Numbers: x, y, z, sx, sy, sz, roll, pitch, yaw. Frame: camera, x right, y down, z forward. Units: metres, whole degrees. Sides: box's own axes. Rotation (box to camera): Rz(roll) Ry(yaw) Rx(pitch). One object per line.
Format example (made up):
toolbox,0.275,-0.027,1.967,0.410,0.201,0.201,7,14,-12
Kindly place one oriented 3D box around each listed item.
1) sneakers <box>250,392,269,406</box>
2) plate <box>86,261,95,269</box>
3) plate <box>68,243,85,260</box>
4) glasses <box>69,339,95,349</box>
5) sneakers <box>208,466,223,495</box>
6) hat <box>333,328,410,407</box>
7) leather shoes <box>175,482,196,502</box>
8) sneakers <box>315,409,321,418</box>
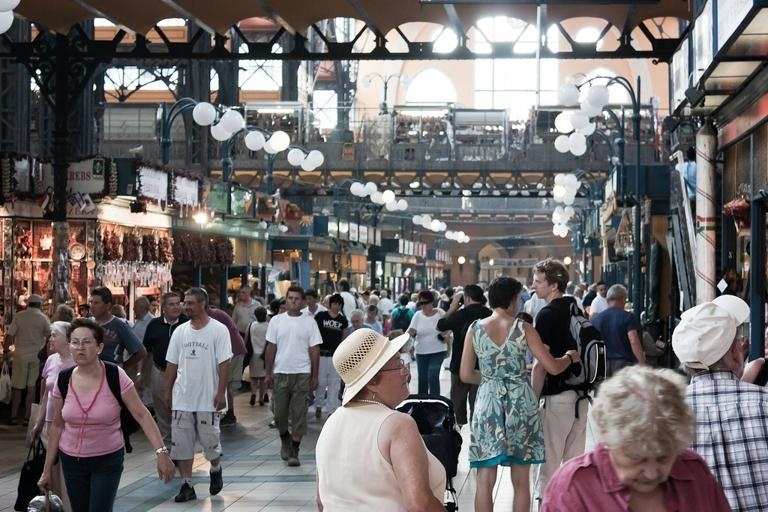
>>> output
sneakers,-2.530,2.899,20.435,0.153,0.259,0.549,2,6,19
plate,-6.010,0.162,20.709,0.220,0.194,0.047,-10,0,25
plate,-6.290,-0.093,20.728,0.285,0.345,0.123,-9,11,7
glasses,-3.317,0.951,11.110,0.254,0.100,0.076,-12,1,-16
sneakers,-2.290,3.030,13.714,0.128,0.168,0.411,0,38,-1
hat,-0.129,0.974,9.014,0.264,0.652,0.624,32,-11,-5
leather shoes,-2.699,3.162,13.408,0.131,0.266,0.384,-6,-10,30
sneakers,-1.233,2.923,18.639,0.097,0.217,0.121,2,-4,8
